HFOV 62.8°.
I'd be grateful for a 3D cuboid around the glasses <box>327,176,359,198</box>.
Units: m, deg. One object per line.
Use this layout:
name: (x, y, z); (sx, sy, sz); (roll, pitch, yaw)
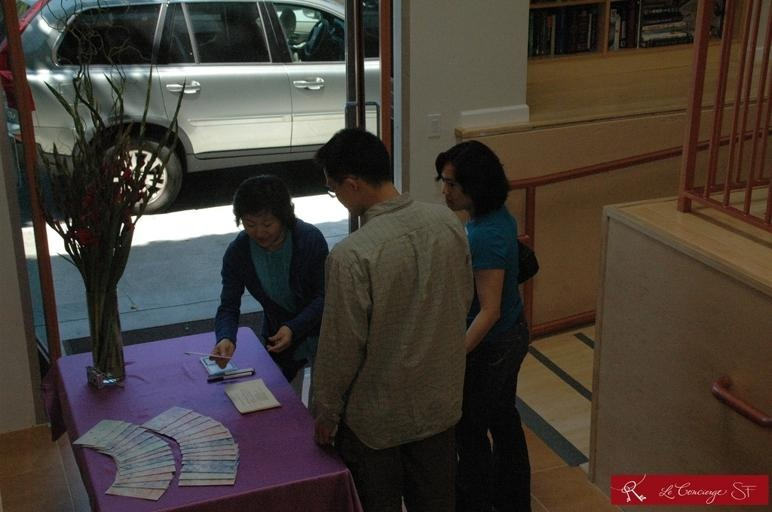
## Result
glasses: (-0.166, -0.300, 2.668); (0.108, 0.115, 0.081); (2, 24, 39)
